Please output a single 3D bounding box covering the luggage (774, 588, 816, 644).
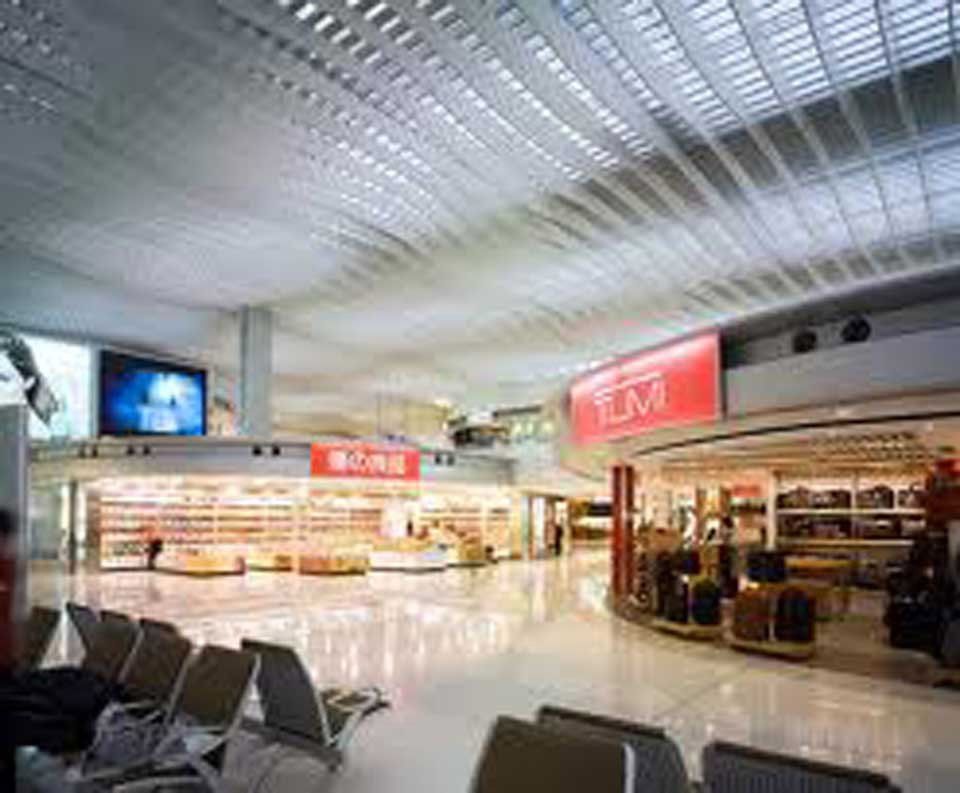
[{"bbox_3d":[3.682,2.580,8.295,0.428,0.600,0.288,1,-9,19],"label":"luggage"}]

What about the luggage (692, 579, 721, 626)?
[{"bbox_3d":[3.019,2.783,9.459,0.374,0.563,0.272,2,-9,15],"label":"luggage"}]

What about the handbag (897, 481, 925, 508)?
[{"bbox_3d":[7.310,1.671,11.998,0.270,0.368,0.480,8,-6,-27],"label":"handbag"}]

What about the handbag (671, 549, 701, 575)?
[{"bbox_3d":[2.985,2.417,10.257,0.387,0.370,0.319,-1,-10,31],"label":"handbag"}]

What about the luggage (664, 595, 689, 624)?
[{"bbox_3d":[2.712,2.915,9.696,0.301,0.363,0.239,3,-9,10],"label":"luggage"}]

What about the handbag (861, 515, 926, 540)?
[{"bbox_3d":[6.947,2.243,12.029,0.839,0.320,0.612,-3,-6,30],"label":"handbag"}]

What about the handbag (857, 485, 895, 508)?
[{"bbox_3d":[6.886,1.776,12.349,0.440,0.346,0.579,8,-9,-33],"label":"handbag"}]

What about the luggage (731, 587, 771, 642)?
[{"bbox_3d":[3.264,2.665,8.573,0.419,0.589,0.308,1,-9,23],"label":"luggage"}]

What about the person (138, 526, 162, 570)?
[{"bbox_3d":[-8.969,4.165,19.320,0.582,1.084,1.714,8,-9,-24],"label":"person"}]

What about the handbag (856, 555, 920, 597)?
[{"bbox_3d":[6.607,2.977,11.624,1.378,0.428,1.097,1,-2,-45],"label":"handbag"}]

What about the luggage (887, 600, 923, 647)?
[{"bbox_3d":[5.269,2.848,8.782,0.400,0.558,0.399,1,-9,23],"label":"luggage"}]

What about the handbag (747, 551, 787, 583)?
[{"bbox_3d":[3.680,2.199,9.094,0.291,0.407,0.518,6,-7,-34],"label":"handbag"}]

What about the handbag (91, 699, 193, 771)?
[{"bbox_3d":[-2.064,2.005,4.195,0.443,0.210,0.590,6,-8,-21],"label":"handbag"}]
